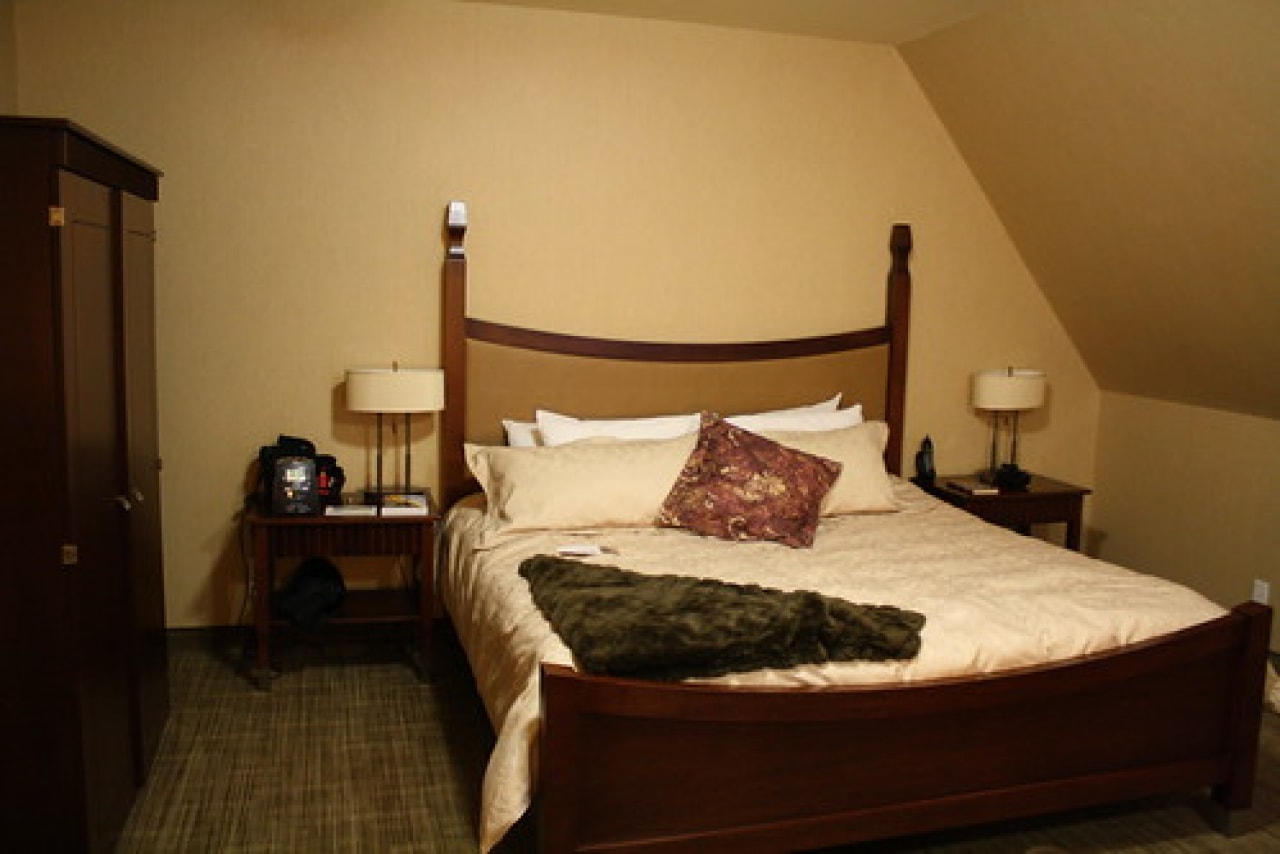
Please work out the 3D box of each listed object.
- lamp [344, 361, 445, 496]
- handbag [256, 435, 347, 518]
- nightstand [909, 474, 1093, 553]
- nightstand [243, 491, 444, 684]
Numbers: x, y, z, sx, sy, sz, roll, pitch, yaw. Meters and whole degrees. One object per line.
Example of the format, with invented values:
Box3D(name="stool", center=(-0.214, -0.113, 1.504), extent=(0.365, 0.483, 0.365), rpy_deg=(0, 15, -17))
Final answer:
Box3D(name="lamp", center=(-1.223, 0.020, 4.891), extent=(0.489, 0.652, 0.411), rpy_deg=(-1, 6, -12))
Box3D(name="handbag", center=(-1.622, 0.230, 4.687), extent=(0.395, 0.406, 0.300), rpy_deg=(-2, 7, -21))
Box3D(name="nightstand", center=(2.087, 0.296, 5.642), extent=(0.651, 0.658, 0.513), rpy_deg=(-1, 9, -14))
Box3D(name="nightstand", center=(-1.447, 0.643, 4.986), extent=(1.012, 1.010, 0.779), rpy_deg=(0, 3, -11))
